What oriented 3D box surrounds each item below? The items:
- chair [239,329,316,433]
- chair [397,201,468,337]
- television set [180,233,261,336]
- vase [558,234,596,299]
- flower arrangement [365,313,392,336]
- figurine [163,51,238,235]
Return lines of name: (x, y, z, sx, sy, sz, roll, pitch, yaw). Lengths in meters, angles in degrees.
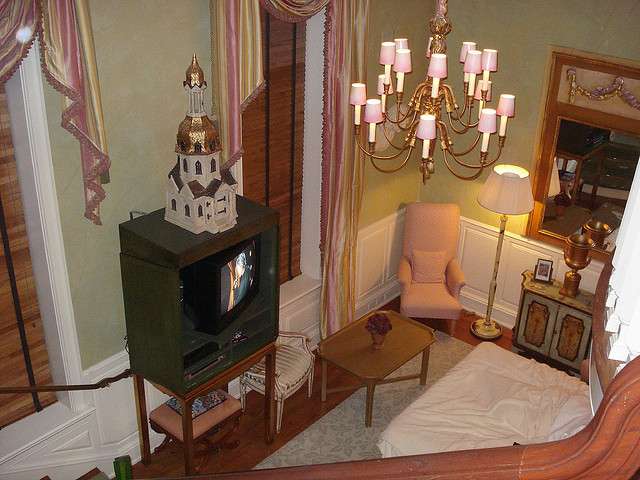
chair: (-0.389, 1.379, 5.663, 0.570, 0.859, 1.035, 14, 25, 29)
chair: (1.382, 0.245, 6.776, 0.782, 1.206, 0.983, 6, 22, 10)
television set: (-0.777, 0.381, 4.527, 0.647, 0.694, 0.361, -17, 28, -39)
vase: (2.812, 0.327, 6.120, 0.286, 0.602, 0.286, -11, 24, -35)
flower arrangement: (0.596, 0.839, 5.586, 0.212, 0.216, 0.209, -6, 13, -38)
figurine: (-0.892, -0.671, 4.018, 0.530, 1.238, 0.318, -5, 22, -16)
